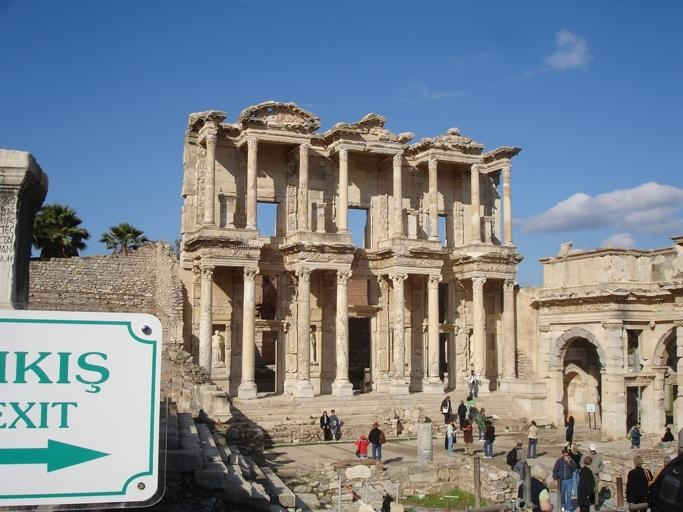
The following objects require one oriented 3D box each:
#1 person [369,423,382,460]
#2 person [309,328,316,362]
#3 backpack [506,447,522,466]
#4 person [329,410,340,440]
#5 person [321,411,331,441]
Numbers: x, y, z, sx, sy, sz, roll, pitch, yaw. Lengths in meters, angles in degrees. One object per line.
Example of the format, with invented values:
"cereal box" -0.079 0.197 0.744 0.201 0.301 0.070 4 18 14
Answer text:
"person" 0.996 5.427 28.227 0.423 1.055 1.192 -1 -7 2
"person" -1.111 3.673 39.740 0.237 1.435 0.207 1 -7 -11
"backpack" 4.371 5.141 24.658 0.511 0.509 0.372 5 -10 -1
"person" -0.204 5.911 33.714 0.376 1.065 0.804 -1 -7 2
"person" -0.558 5.932 33.560 0.349 0.968 0.491 -6 -8 36
